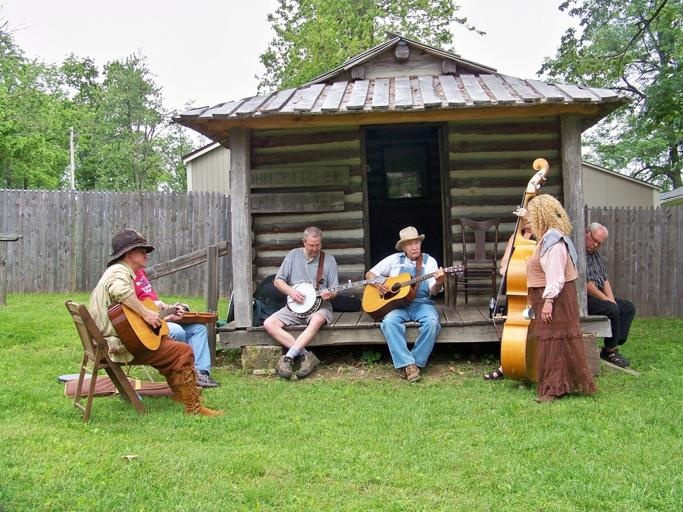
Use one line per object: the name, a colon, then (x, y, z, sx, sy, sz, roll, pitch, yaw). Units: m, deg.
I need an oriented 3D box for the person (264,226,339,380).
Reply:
person: (-0.549, 0.652, 9.177, 0.853, 2.052, 1.087, 4, 3, 6)

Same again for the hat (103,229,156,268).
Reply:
hat: (-2.382, -0.129, 7.458, 0.439, 0.248, 0.417, -28, 6, -14)

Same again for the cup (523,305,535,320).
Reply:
cup: (2.184, 0.673, 7.763, 0.101, 0.175, 0.118, -5, -15, 4)

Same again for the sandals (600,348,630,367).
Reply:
sandals: (3.727, 1.395, 9.065, 0.195, 0.175, 0.373, -2, 8, -44)

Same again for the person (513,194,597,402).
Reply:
person: (2.567, 0.462, 7.884, 0.759, 2.441, 0.875, -2, -3, -11)

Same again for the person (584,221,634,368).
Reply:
person: (3.738, 0.499, 9.384, 0.762, 1.932, 0.712, 6, 8, 20)

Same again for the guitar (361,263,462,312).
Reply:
guitar: (0.944, 0.425, 8.870, 1.314, 0.191, 0.568, -21, 33, 25)

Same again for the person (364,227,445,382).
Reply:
person: (0.876, 0.698, 8.842, 1.010, 2.053, 0.924, 5, 7, -4)

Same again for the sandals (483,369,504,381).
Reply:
sandals: (1.898, 1.536, 8.477, 0.302, 0.137, 0.106, -1, -3, -10)

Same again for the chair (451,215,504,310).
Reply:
chair: (2.064, 0.106, 10.103, 0.662, 1.435, 0.688, -1, -1, 19)
